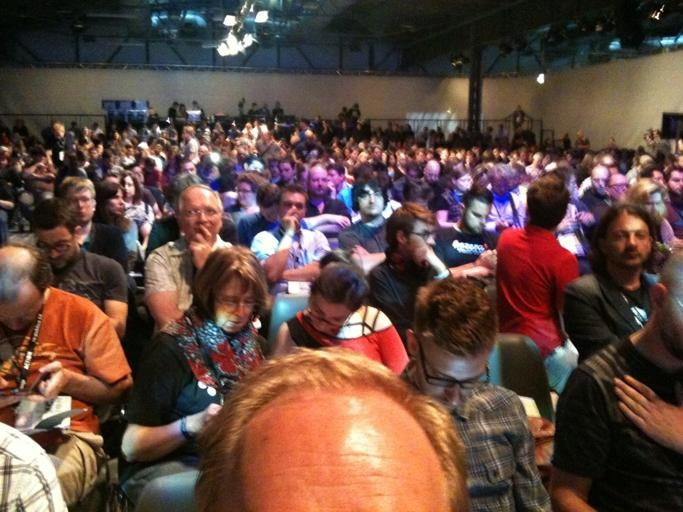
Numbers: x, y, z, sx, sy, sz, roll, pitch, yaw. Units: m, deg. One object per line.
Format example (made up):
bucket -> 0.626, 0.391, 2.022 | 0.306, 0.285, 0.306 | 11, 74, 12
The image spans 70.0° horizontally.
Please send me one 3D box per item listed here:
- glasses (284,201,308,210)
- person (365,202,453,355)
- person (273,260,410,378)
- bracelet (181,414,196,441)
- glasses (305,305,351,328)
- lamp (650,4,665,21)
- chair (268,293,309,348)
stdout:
glasses -> -0.382, -0.413, 3.999 | 0.195, 0.064, 0.110 | 5, 3, -23
person -> 0.442, 0.145, 3.321 | 0.517, 1.061, 0.444 | -4, 25, 0
person -> -0.014, 0.370, 2.421 | 0.674, 0.635, 0.389 | 1, 43, -1
bracelet -> -0.611, 0.681, 1.919 | 0.051, 0.079, 0.075 | -11, 21, -14
glasses -> -0.074, 0.291, 2.389 | 0.239, 0.116, 0.125 | 6, 3, 9
lamp -> 7.472, -5.802, 11.538 | 0.251, 0.422, 0.646 | 7, 3, 33
chair -> -0.344, 0.369, 2.966 | 0.224, 0.340, 0.259 | 2, -4, -5
